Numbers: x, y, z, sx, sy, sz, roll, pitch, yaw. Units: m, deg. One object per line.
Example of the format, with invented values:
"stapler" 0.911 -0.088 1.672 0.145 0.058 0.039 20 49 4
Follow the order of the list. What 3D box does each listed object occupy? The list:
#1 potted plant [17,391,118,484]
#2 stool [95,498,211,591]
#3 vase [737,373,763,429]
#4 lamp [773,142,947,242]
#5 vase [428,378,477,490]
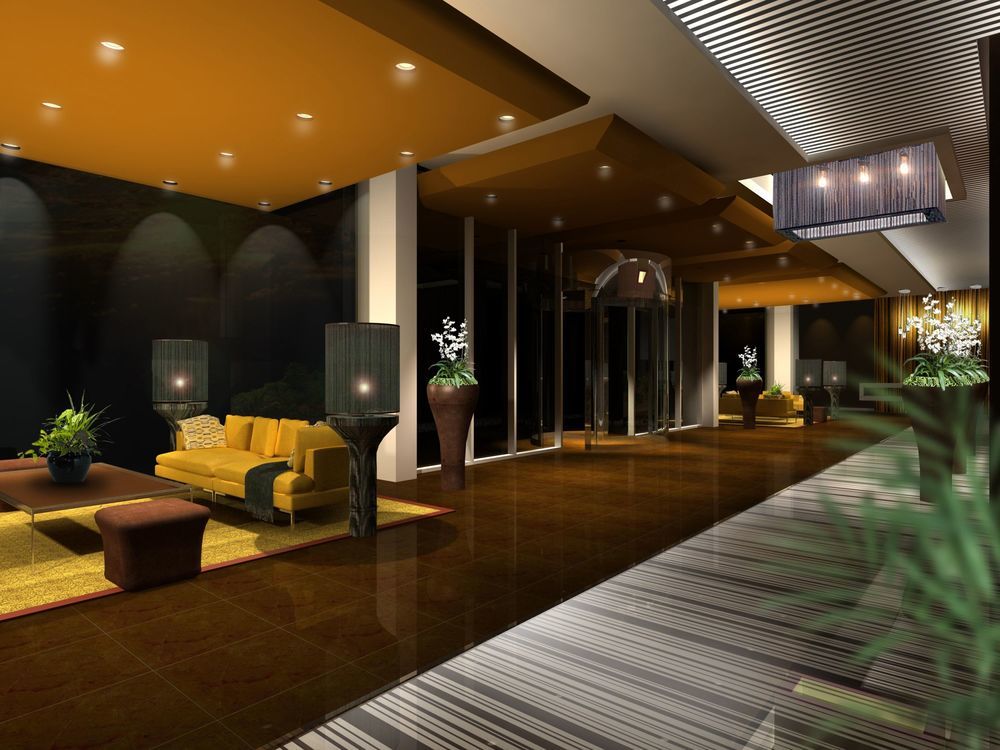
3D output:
"potted plant" -4.117 0.684 5.981 0.788 0.647 0.492 4 4 -13
"stool" -2.572 1.146 4.628 0.625 0.598 0.788 -3 -3 42
"vase" 6.104 0.620 14.989 0.526 1.297 0.592 2 3 25
"lamp" 4.640 -1.875 7.754 1.863 0.708 0.949 -1 0 36
"vase" -0.571 0.726 7.610 0.600 1.291 0.330 0 3 -7
